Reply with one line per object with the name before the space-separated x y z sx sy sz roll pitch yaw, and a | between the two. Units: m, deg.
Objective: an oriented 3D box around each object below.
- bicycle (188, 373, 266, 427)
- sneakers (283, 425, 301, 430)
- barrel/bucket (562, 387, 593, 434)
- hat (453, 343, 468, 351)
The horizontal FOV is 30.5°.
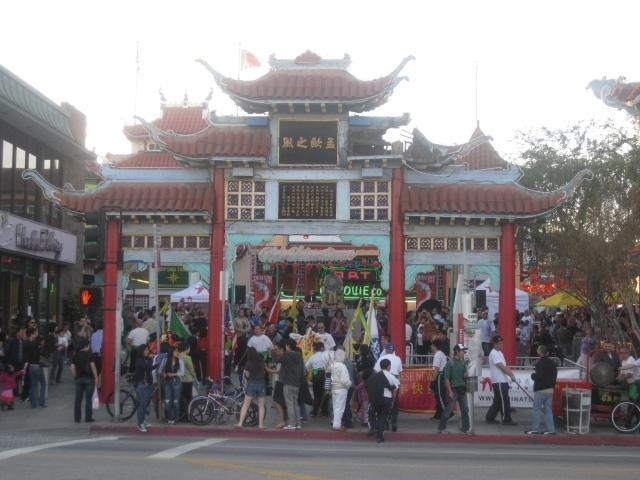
bicycle | -3.083 5.225 37.276 1.881 1.181 1.160 1 -3 -4
sneakers | -0.873 5.796 36.411 0.492 0.198 0.185 3 -2 7
barrel/bucket | 8.153 5.290 36.468 1.149 1.598 1.170 -1 -1 0
hat | 4.392 3.369 36.628 0.366 0.203 0.255 -1 6 -12
